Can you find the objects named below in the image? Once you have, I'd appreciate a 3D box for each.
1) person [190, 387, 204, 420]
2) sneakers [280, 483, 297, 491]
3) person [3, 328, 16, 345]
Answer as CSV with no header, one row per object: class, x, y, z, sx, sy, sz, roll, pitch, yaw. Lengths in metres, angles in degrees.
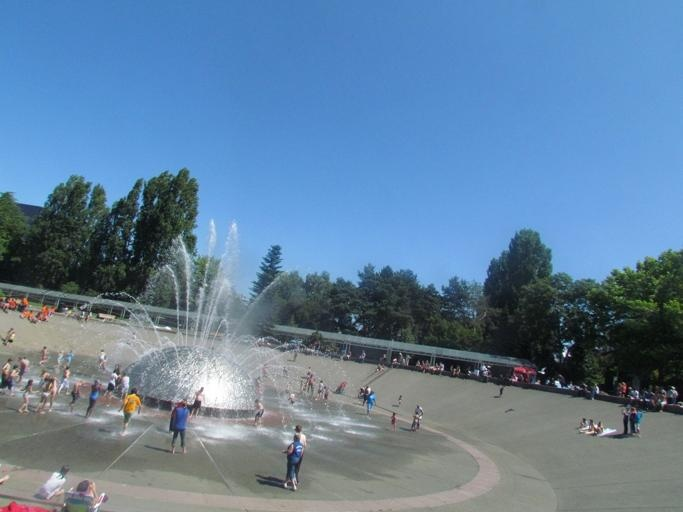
person,-7.727,8.058,26.726,0.854,0.429,1.683,12,-60,-17
sneakers,-2.171,9.703,20.741,0.459,0.282,0.136,12,-26,25
person,-26.641,6.431,39.862,0.741,1.473,2.040,9,-4,-37
